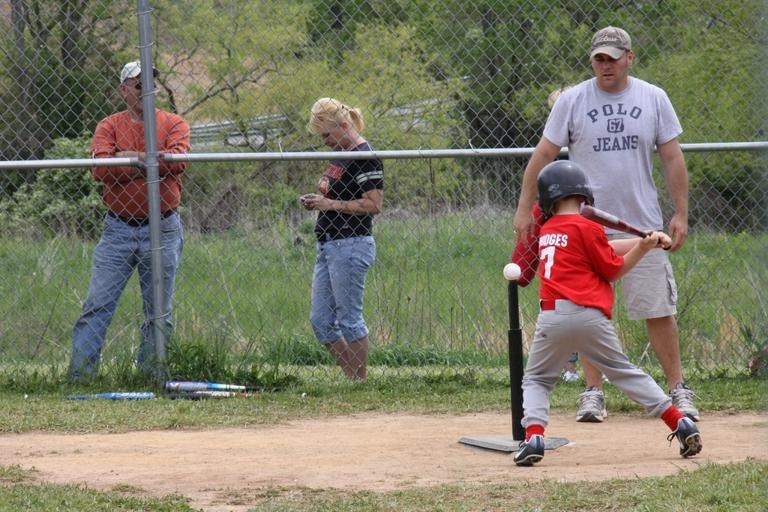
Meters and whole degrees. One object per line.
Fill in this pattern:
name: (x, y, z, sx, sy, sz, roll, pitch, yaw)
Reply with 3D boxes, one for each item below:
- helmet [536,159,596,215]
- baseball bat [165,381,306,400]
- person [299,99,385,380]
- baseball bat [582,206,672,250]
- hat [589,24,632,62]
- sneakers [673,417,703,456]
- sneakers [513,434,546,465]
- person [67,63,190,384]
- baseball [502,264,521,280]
helmet: (1.262, -0.501, 8.939, 0.316, 0.350, 0.414, -23, 48, -32)
baseball bat: (-1.289, 1.124, 10.175, 1.107, 0.126, 0.125, 1, 0, -5)
person: (-0.349, -0.138, 10.353, 0.701, 1.975, 0.494, -2, -1, -2)
baseball bat: (1.775, -0.210, 9.094, 0.523, 0.077, 0.128, 23, 38, -7)
hat: (1.741, -1.655, 9.410, 0.206, 0.193, 0.330, 1, 8, 25)
sneakers: (2.163, 1.293, 8.720, 0.136, 0.363, 0.169, -36, 54, -18)
sneakers: (1.039, 1.395, 8.789, 0.222, 0.202, 0.148, -2, 0, 1)
person: (-2.152, -0.312, 10.274, 1.034, 2.024, 0.468, -2, -1, -16)
baseball: (0.928, 0.115, 8.923, 0.116, 0.144, 0.121, -1, 3, 33)
